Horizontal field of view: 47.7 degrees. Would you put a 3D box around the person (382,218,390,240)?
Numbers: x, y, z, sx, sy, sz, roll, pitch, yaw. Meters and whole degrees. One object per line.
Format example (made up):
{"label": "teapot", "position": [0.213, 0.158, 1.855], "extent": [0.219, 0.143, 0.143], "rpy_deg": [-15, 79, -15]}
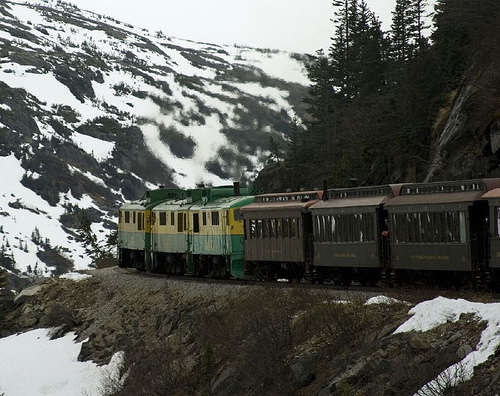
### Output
{"label": "person", "position": [5.819, 1.303, 24.112], "extent": [0.337, 0.642, 0.870], "rpy_deg": [-6, -4, 13]}
